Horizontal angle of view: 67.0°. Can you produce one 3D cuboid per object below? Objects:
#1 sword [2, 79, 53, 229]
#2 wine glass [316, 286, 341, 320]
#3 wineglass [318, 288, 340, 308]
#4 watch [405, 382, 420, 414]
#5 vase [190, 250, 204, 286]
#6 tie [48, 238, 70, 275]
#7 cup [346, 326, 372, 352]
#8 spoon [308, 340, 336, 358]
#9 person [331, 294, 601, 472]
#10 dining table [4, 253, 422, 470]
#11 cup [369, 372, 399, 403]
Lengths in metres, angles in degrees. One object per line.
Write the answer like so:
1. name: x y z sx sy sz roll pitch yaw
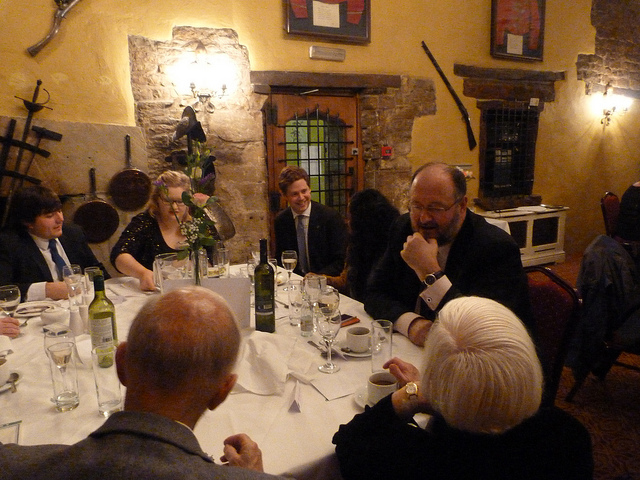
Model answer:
1. sword: -2.454 -0.761 4.019 0.331 1.166 0.107 15 -16 -24
2. wine glass: 0.047 0.302 2.265 0.119 0.176 0.121 0 0 3
3. wineglass: 0.040 0.275 2.289 0.088 0.087 0.085 0 1 -1
4. watch: 0.306 0.528 1.613 0.043 0.091 0.062 1 13 -1
5. vase: -0.626 0.148 2.484 0.068 0.240 0.065 -2 25 -19
6. tie: -1.857 0.126 3.427 0.165 0.216 0.070 -16 8 29
7. cup: 0.178 0.448 2.207 0.092 0.077 0.116 -2 7 -28
8. spoon: 0.011 0.499 2.203 0.030 0.029 0.164 -9 28 -36
9. person: 0.435 0.524 1.541 0.788 0.656 0.268 3 14 5
10. dining table: -0.378 0.517 2.027 1.177 0.277 1.148 -7 14 -39
11. cup: 0.244 0.554 1.859 0.106 0.076 0.103 0 0 0
